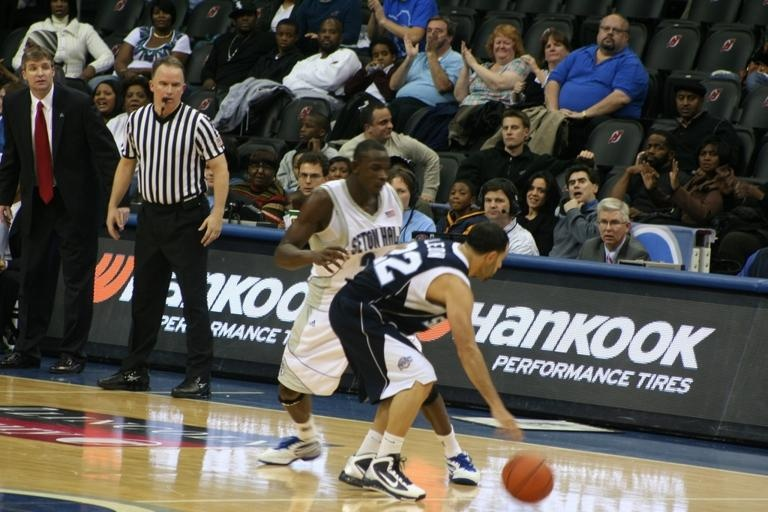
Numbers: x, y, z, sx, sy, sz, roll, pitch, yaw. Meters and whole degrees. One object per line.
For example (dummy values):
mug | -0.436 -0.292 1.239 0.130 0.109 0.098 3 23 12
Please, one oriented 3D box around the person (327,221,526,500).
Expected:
person | 0.196 0.722 7.770 1.301 1.967 0.790 4 8 6

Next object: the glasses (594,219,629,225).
glasses | 2.243 -0.327 10.261 0.274 0.056 0.086 5 8 11

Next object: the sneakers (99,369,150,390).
sneakers | -2.456 1.181 10.062 0.497 0.226 0.185 7 -6 -9

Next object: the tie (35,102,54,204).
tie | -3.389 -1.029 10.467 0.193 0.994 0.070 5 9 14

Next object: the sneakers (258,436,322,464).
sneakers | -0.714 1.483 8.214 0.514 0.225 0.187 -1 6 -19

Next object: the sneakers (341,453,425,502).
sneakers | -0.010 1.568 7.697 0.664 0.300 0.146 7 9 27

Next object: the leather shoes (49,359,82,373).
leather shoes | -3.185 1.102 10.567 0.318 0.134 0.129 8 0 -34

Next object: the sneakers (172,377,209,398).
sneakers | -1.817 1.244 9.895 0.307 0.174 0.170 11 -3 -23

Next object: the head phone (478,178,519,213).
head phone | 1.183 -0.610 10.790 0.384 0.341 0.154 4 12 23

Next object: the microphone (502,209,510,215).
microphone | 1.237 -0.444 10.639 0.085 0.046 0.008 -1 9 -29
